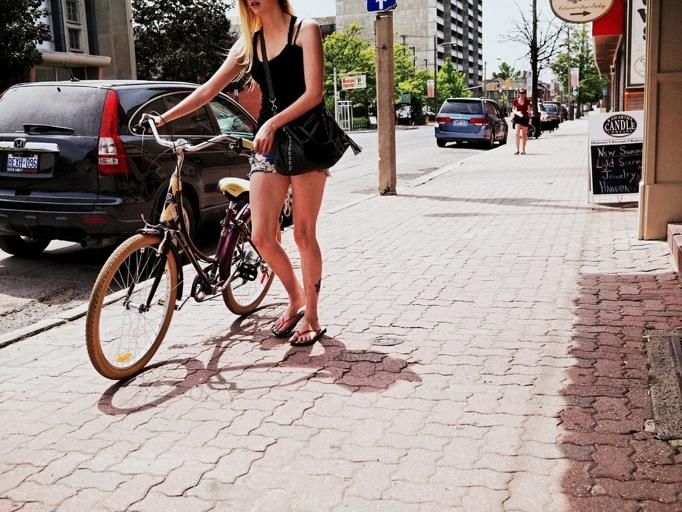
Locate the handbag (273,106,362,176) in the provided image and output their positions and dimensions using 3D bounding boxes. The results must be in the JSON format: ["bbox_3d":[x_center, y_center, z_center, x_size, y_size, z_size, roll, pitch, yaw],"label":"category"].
[{"bbox_3d":[-0.173,-0.794,3.552,0.608,0.467,0.192,-11,15,-32],"label":"handbag"}]

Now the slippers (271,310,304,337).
[{"bbox_3d":[-0.390,0.531,4.088,0.316,0.081,0.129,-48,40,-16],"label":"slippers"}]
